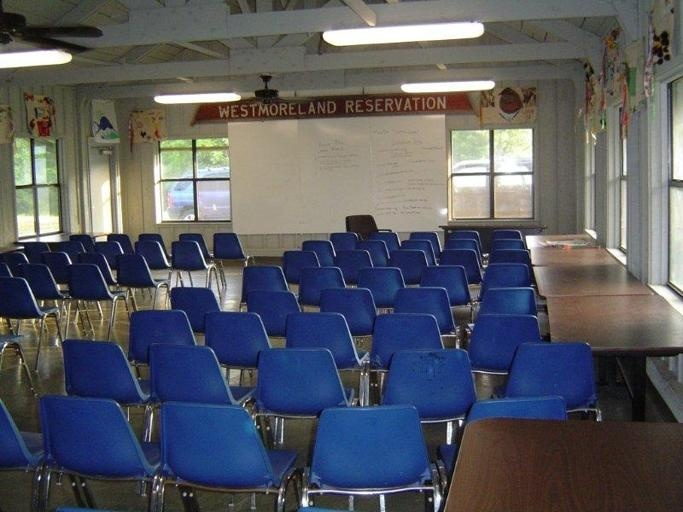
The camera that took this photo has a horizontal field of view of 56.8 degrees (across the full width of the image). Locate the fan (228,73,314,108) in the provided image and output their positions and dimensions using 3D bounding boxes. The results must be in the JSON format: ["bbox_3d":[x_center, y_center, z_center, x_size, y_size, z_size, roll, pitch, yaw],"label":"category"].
[{"bbox_3d":[-1.332,-3.161,11.998,1.273,0.539,1.281,-3,4,-31],"label":"fan"}]
